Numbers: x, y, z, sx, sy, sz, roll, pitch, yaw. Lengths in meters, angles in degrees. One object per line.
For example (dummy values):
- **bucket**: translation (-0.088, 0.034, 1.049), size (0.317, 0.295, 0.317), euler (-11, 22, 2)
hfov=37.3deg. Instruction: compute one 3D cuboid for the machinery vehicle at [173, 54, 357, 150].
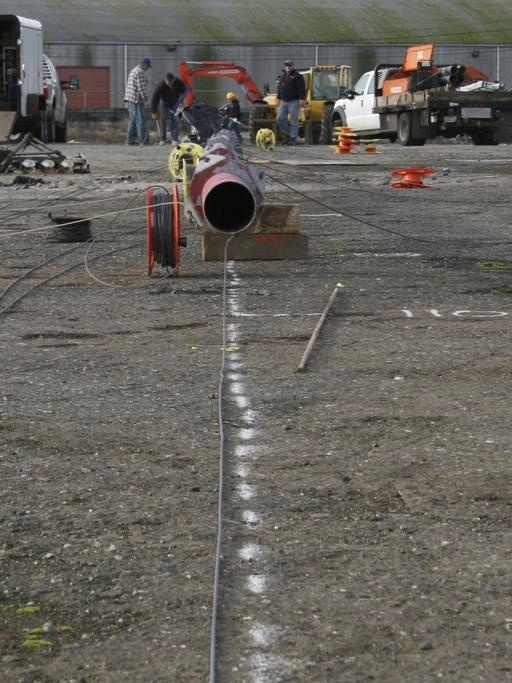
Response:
- **machinery vehicle**: translation (0.335, -9.317, 29.260), size (6.679, 2.678, 2.256), euler (-9, 24, -22)
